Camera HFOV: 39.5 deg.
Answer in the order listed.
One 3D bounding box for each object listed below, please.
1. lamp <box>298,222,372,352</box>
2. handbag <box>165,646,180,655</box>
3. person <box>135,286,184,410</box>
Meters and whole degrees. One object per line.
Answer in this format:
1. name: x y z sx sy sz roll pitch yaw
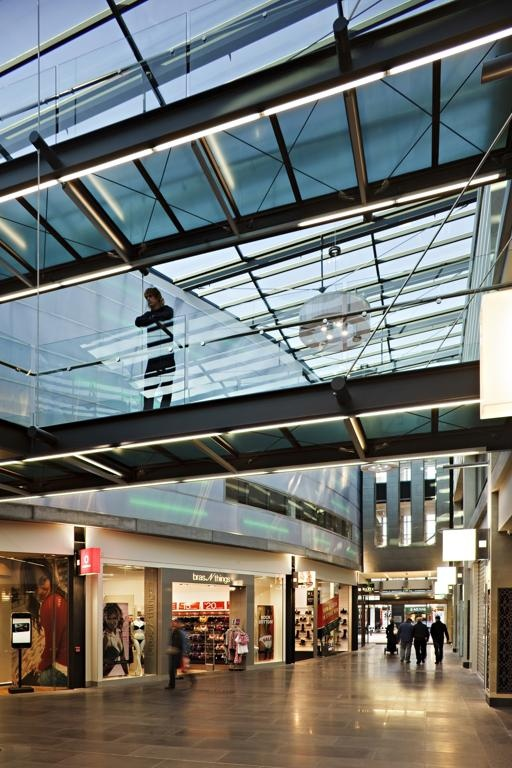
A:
1. lamp: 1.110 -1.754 10.854 0.935 1.600 0.919 -9 -3 16
2. handbag: -1.769 5.562 15.036 0.299 0.154 0.204 5 -8 -42
3. person: -1.416 -0.567 10.350 0.427 1.975 0.707 12 -17 -39
